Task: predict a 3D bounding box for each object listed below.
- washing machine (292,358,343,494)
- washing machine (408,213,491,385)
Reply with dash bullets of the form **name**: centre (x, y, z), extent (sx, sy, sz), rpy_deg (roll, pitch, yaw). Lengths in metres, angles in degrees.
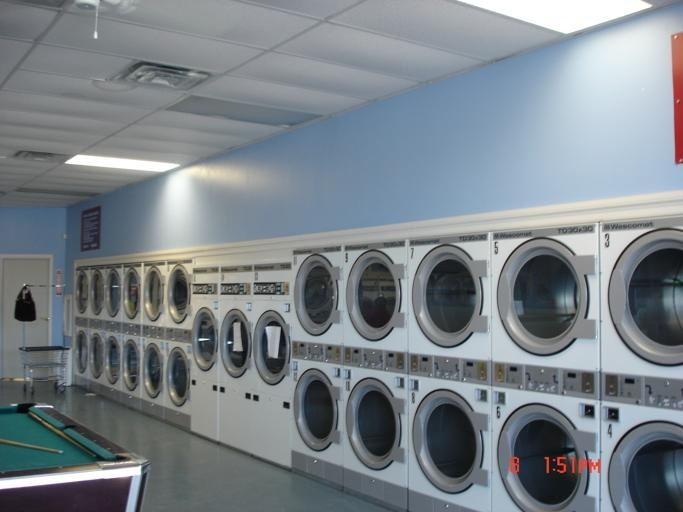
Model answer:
- **washing machine**: centre (-0.117, 1.718, 5.416), extent (0.724, 1.179, 0.570), rpy_deg (-5, -8, 44)
- **washing machine**: centre (1.023, 0.452, 4.363), extent (0.790, 1.197, 0.663), rpy_deg (-4, -8, 44)
